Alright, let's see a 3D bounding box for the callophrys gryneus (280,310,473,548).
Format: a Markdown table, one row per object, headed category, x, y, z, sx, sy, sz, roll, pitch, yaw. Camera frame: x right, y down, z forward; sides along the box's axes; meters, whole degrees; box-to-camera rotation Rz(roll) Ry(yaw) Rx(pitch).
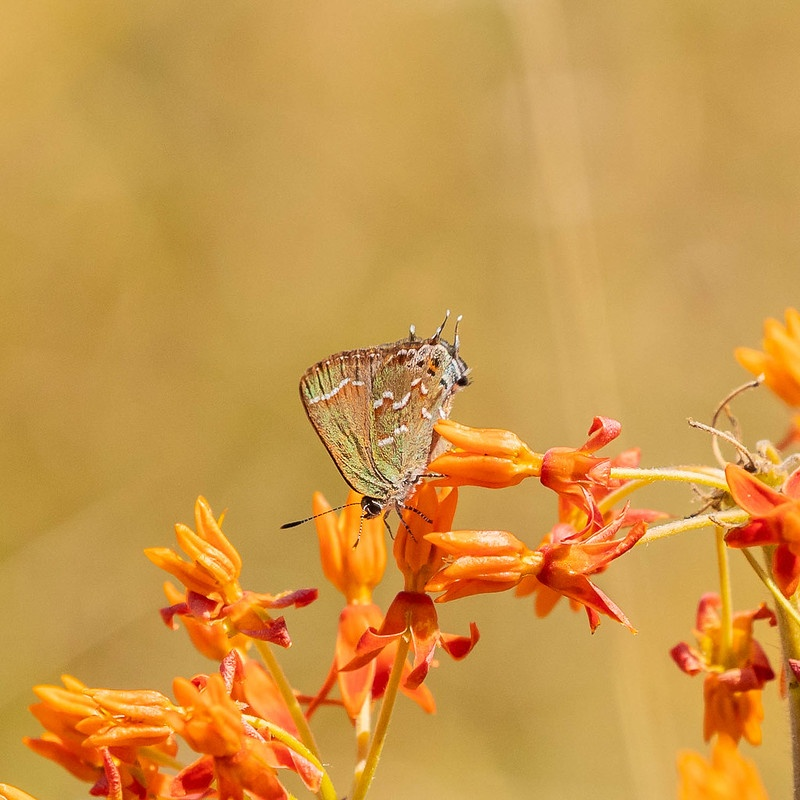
| category | x | y | z | sx | sy | sz | roll | pitch | yaw |
| --- | --- | --- | --- | --- | --- | --- | --- | --- | --- |
| callophrys gryneus | -0.060 | 0.082 | 1.914 | 0.314 | 0.285 | 0.294 | -21 | -17 | 32 |
